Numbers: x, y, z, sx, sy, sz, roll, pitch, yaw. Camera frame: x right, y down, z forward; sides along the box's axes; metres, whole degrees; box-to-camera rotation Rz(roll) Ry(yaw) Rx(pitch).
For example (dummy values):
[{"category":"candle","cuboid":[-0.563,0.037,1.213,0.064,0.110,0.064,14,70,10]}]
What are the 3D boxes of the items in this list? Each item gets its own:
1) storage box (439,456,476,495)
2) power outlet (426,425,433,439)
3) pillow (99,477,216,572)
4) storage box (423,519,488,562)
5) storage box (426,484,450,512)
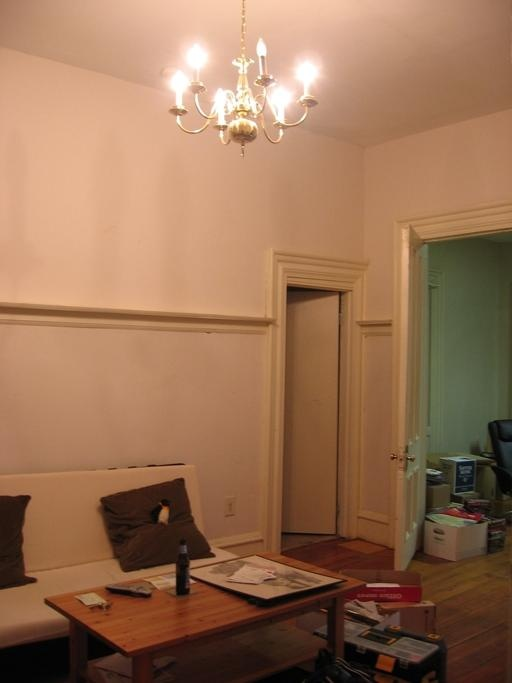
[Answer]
[{"category":"storage box","cuboid":[1.883,1.260,5.474,0.354,0.324,0.198,-1,-3,-35]},{"category":"power outlet","cuboid":[1.821,0.939,6.131,0.020,0.126,0.128,2,3,35]},{"category":"pillow","cuboid":[-0.520,0.966,3.011,0.551,0.498,0.158,-12,-18,-43]},{"category":"storage box","cuboid":[1.523,1.501,4.488,0.348,0.195,0.334,3,-3,-35]},{"category":"storage box","cuboid":[1.538,1.327,4.984,0.243,0.207,0.126,2,-4,-33]}]
